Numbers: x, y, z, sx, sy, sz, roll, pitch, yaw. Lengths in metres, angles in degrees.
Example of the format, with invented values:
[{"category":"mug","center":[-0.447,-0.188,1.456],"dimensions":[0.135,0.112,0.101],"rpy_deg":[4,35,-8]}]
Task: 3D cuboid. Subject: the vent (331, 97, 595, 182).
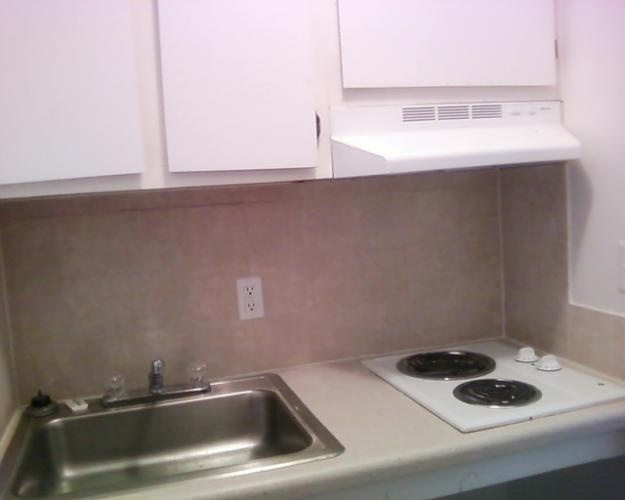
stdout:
[{"category":"vent","center":[0.423,-0.322,1.455],"dimensions":[0.742,0.190,0.169],"rpy_deg":[-7,11,-15]}]
